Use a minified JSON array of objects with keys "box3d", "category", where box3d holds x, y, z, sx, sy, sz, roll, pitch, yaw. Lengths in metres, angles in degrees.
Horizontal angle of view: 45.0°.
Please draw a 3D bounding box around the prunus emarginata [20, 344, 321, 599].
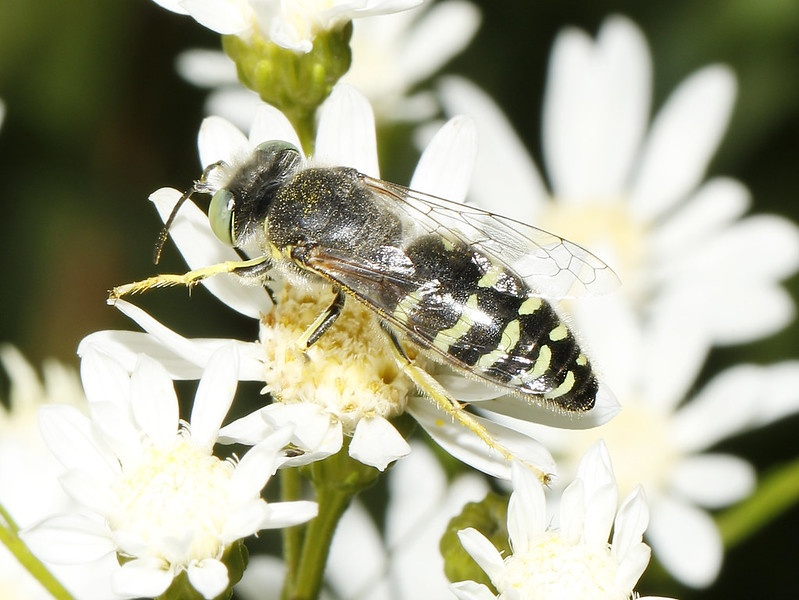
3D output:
[{"box3d":[-0.534,0.400,2.253,0.633,0.262,0.586,-1,79,0],"category":"prunus emarginata"}]
